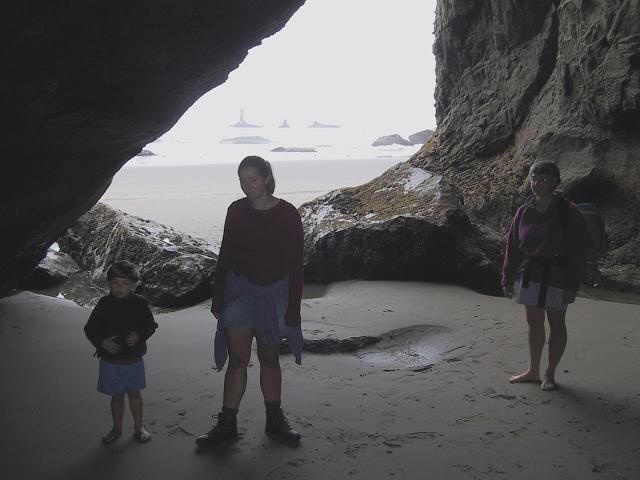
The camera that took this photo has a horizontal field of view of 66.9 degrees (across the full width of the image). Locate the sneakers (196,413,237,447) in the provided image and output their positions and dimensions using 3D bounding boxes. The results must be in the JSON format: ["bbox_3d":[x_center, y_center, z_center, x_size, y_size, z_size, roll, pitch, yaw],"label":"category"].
[{"bbox_3d":[-0.713,1.363,3.501,0.349,0.228,0.136,6,-7,-32],"label":"sneakers"}]

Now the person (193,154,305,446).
[{"bbox_3d":[-0.483,0.405,3.596,0.720,2.034,0.667,-1,10,-4],"label":"person"}]

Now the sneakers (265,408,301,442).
[{"bbox_3d":[-0.275,1.344,3.560,0.308,0.203,0.116,6,7,37],"label":"sneakers"}]

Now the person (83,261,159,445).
[{"bbox_3d":[-1.417,0.782,3.474,0.472,1.277,0.374,-3,10,-17],"label":"person"}]
